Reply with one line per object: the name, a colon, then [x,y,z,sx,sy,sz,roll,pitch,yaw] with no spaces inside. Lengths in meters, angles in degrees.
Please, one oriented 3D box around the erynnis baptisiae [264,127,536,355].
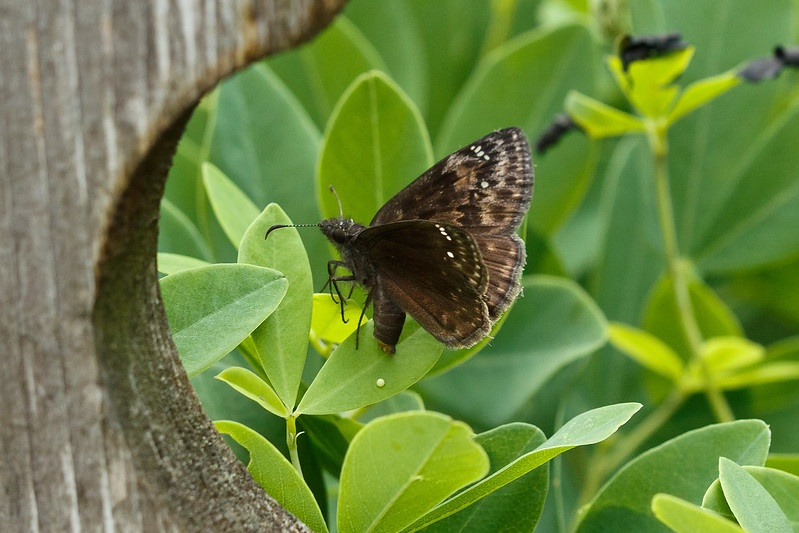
erynnis baptisiae: [0.030,-0.026,1.100,0.243,0.173,0.274,28,19,18]
